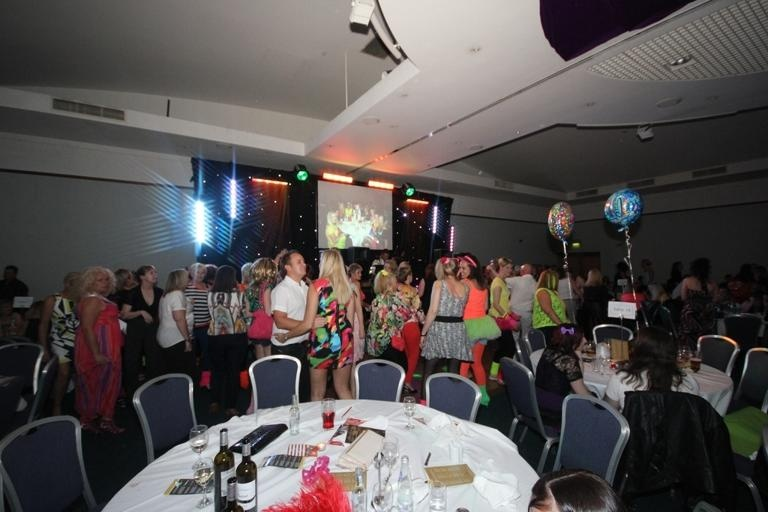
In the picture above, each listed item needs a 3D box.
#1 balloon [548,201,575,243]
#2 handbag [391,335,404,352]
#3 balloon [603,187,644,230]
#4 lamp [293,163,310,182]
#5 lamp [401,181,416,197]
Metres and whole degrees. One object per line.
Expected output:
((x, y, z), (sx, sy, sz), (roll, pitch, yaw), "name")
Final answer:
((3.121, -0.624, 8.080), (0.356, 0.621, 0.714), (2, -1, 19), "balloon")
((0.207, 1.265, 6.736), (0.195, 0.196, 0.199), (32, 0, 1), "handbag")
((3.814, -0.730, 7.264), (0.562, 0.709, 0.578), (-11, 7, -13), "balloon")
((-1.772, -1.745, 9.732), (0.311, 0.336, 0.446), (6, 20, -17), "lamp")
((0.616, -1.668, 11.572), (0.357, 0.352, 0.552), (2, -1, 1), "lamp")
